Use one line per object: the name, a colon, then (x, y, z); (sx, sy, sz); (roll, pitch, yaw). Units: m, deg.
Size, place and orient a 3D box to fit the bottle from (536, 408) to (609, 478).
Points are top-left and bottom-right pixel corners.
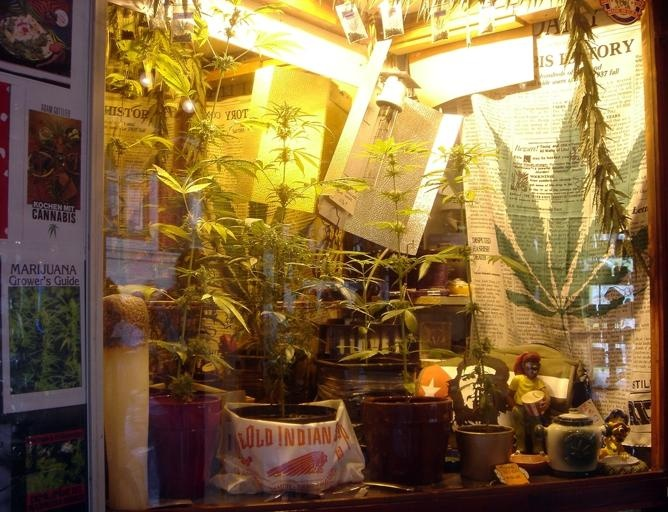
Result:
bottle: (0.911, 0.709, 2.169); (0.236, 0.258, 0.227); (0, -3, 8)
